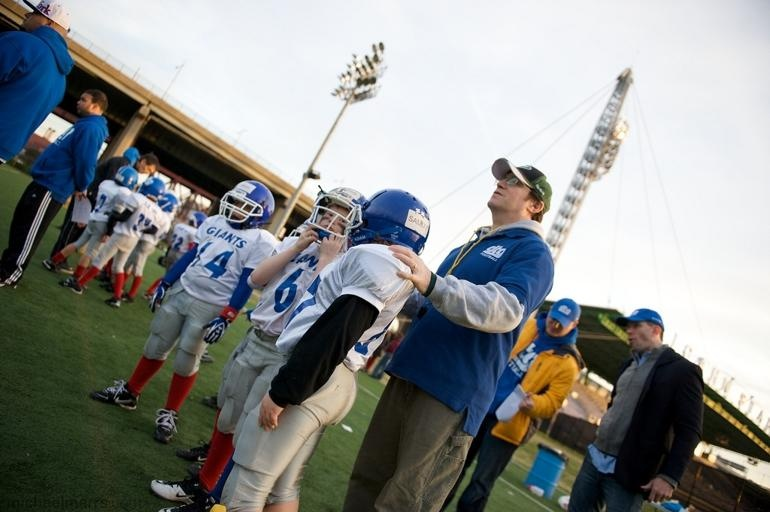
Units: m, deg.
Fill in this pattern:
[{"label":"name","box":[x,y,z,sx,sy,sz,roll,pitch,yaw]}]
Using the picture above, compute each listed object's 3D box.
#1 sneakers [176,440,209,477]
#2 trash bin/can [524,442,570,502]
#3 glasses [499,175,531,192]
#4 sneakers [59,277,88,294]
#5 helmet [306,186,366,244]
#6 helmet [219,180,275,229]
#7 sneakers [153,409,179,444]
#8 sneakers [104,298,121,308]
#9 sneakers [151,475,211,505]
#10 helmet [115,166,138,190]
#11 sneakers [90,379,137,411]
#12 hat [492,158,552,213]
[{"label":"sneakers","box":[-1.819,2.014,4.735,0.498,0.219,0.182,32,-5,-39]},{"label":"trash bin/can","box":[3.231,4.352,9.595,0.643,0.909,0.624,32,-13,-23]},{"label":"glasses","box":[1.068,-0.609,3.972,0.208,0.067,0.127,30,-7,-26]},{"label":"sneakers","box":[-5.087,0.474,7.748,0.134,0.150,0.334,40,-1,35]},{"label":"helmet","box":[-0.384,-0.322,3.947,0.297,0.358,0.360,23,-13,8]},{"label":"helmet","box":[-1.555,-0.550,5.419,0.491,0.499,0.586,20,11,40]},{"label":"sneakers","box":[-2.227,1.705,4.880,0.211,0.235,0.519,26,-9,-19]},{"label":"sneakers","box":[-4.630,0.790,8.093,0.293,0.150,0.115,3,-4,33]},{"label":"sneakers","box":[-1.730,2.003,4.057,0.343,0.156,0.116,22,-12,-20]},{"label":"helmet","box":[-4.658,-1.439,8.727,0.325,0.382,0.445,14,29,9]},{"label":"sneakers","box":[-2.791,1.463,5.014,0.483,0.246,0.187,24,1,-30]},{"label":"hat","box":[1.243,-0.667,4.103,0.552,0.276,0.350,45,3,-8]}]
